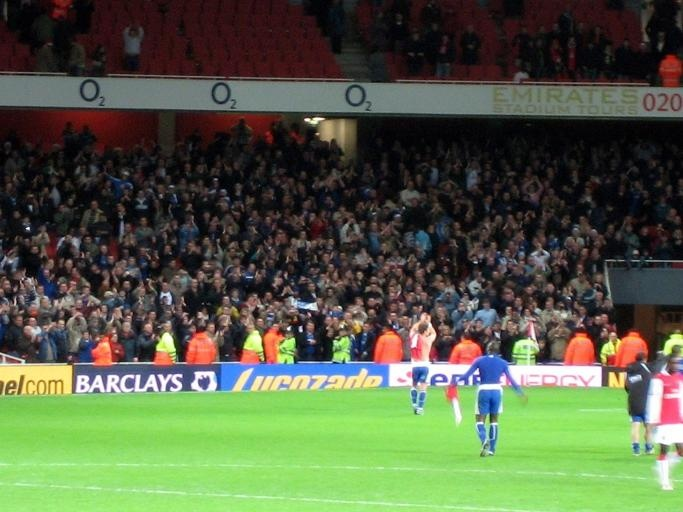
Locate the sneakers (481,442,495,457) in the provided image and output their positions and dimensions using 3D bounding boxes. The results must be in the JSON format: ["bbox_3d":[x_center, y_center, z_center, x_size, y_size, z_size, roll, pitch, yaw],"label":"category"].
[{"bbox_3d":[3.156,4.236,34.503,0.155,0.213,0.442,2,2,11],"label":"sneakers"}]

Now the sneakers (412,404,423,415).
[{"bbox_3d":[1.788,3.665,37.753,0.249,0.270,0.159,0,5,2],"label":"sneakers"}]

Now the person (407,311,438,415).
[{"bbox_3d":[1.889,2.590,37.675,0.553,2.473,1.017,1,10,3],"label":"person"}]
